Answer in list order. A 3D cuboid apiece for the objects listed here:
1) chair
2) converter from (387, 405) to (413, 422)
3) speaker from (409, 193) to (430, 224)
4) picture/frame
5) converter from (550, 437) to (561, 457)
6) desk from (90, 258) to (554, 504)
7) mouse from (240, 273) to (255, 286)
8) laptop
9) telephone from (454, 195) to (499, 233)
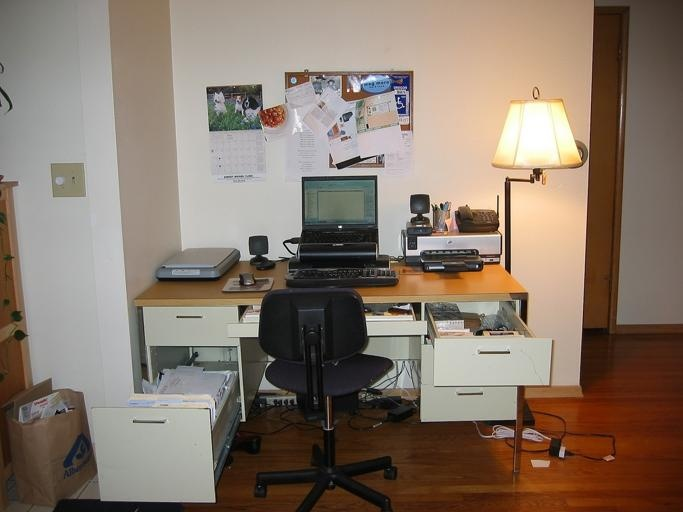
[{"bbox_3d":[-0.098,0.635,2.721,0.677,1.051,0.405,-2,9,4],"label":"chair"},{"bbox_3d":[0.338,0.883,3.340,0.126,0.033,0.067,-6,6,-43],"label":"converter"},{"bbox_3d":[0.438,-0.276,3.306,0.130,0.170,0.159,-1,10,3],"label":"speaker"},{"bbox_3d":[0.061,-0.823,3.391,0.573,0.430,0.021,0,15,4],"label":"picture/frame"},{"bbox_3d":[1.101,0.974,3.056,0.048,0.048,0.148,1,4,21],"label":"converter"},{"bbox_3d":[-0.044,0.915,3.147,1.947,0.932,1.102,-2,8,-1],"label":"desk"},{"bbox_3d":[-0.470,0.110,2.977,0.073,0.052,0.052,3,7,-4],"label":"mouse"},{"bbox_3d":[-0.011,-0.218,3.207,0.457,0.389,0.328,1,20,6],"label":"laptop"},{"bbox_3d":[0.771,-0.238,3.352,0.277,0.126,0.294,5,24,20],"label":"telephone"}]
